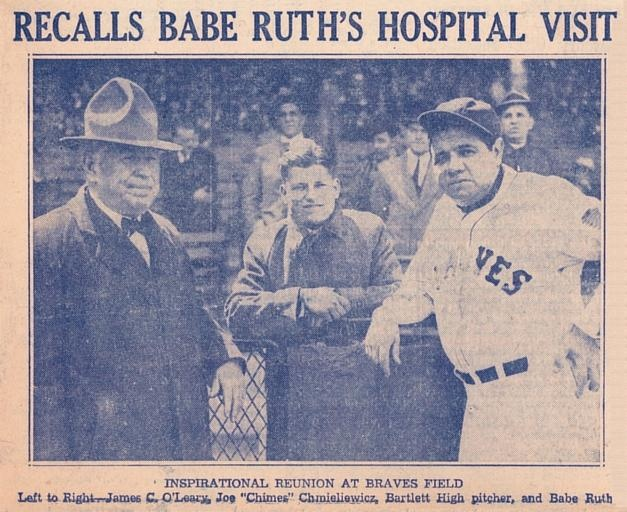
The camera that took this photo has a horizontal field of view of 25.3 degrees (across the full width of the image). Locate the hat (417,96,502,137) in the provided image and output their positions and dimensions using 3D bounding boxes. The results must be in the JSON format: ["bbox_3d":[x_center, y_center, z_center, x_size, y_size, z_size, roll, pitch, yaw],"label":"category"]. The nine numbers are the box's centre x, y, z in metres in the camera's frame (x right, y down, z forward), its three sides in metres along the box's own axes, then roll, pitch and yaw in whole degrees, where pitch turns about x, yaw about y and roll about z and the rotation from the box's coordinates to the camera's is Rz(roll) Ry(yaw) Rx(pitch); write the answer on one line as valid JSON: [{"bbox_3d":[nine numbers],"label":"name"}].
[{"bbox_3d":[1.090,-1.007,10.065,0.394,0.207,0.310,19,-4,-9],"label":"hat"}]
